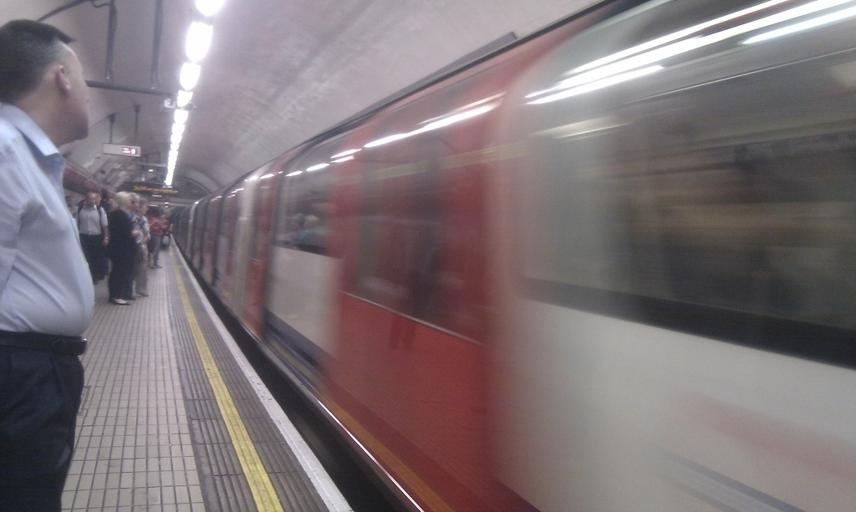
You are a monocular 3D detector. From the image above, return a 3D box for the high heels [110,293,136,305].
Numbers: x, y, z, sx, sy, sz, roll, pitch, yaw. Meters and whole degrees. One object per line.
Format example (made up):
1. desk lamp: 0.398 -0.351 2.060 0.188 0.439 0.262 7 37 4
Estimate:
1. high heels: -5.685 0.845 9.082 0.414 0.170 0.125 -9 55 -52
